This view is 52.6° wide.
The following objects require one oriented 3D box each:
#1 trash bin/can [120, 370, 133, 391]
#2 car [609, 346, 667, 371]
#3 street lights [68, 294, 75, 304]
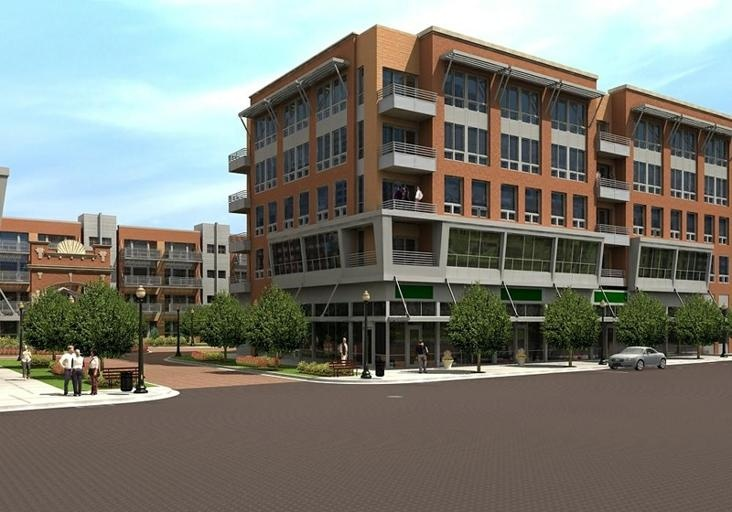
[{"bbox_3d":[-11.272,5.872,34.814,0.717,0.922,0.763,1,-4,-9],"label":"trash bin/can"},{"bbox_3d":[17.993,6.772,49.158,4.012,1.589,1.701,5,-10,-32],"label":"car"},{"bbox_3d":[-24.753,3.566,62.134,0.183,0.820,0.819,-4,-2,29],"label":"street lights"}]
